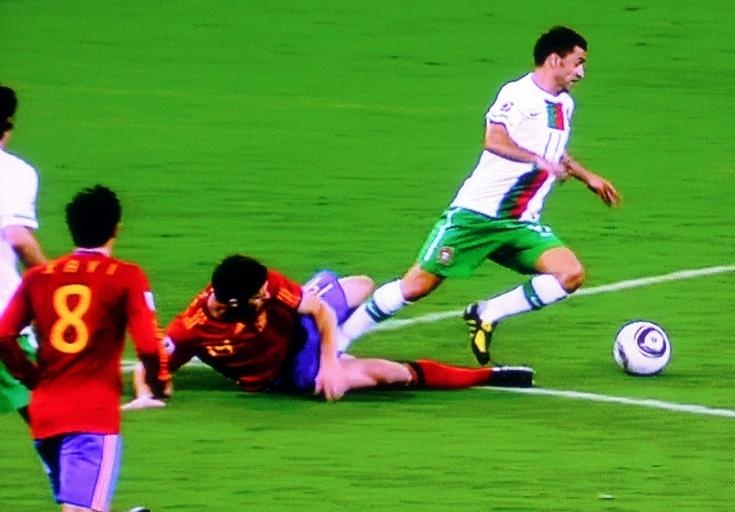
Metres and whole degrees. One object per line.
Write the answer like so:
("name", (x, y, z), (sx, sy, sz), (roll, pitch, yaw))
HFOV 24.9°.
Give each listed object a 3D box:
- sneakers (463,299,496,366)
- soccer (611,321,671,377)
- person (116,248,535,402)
("sneakers", (0.826, 0.569, 12.091), (0.255, 0.408, 0.189), (-3, 4, 33))
("soccer", (1.952, 0.649, 11.765), (0.430, 0.360, 0.302), (3, 8, 5))
("person", (-0.330, 0.505, 11.531), (2.063, 0.875, 0.575), (2, 1, -26))
